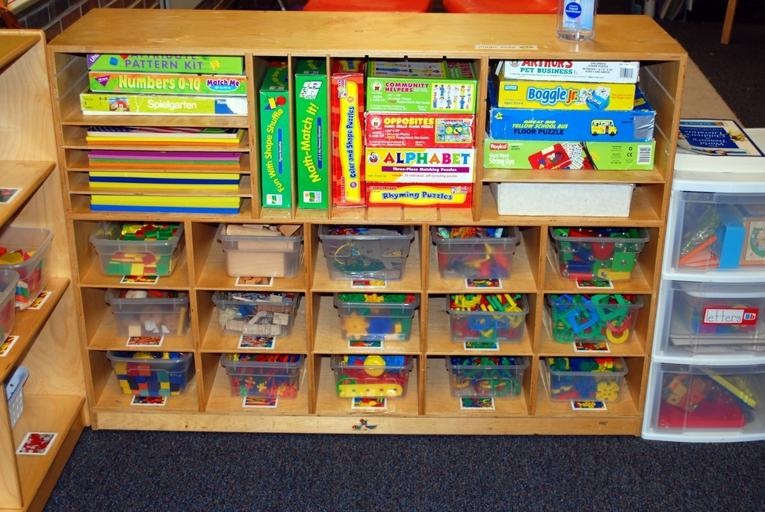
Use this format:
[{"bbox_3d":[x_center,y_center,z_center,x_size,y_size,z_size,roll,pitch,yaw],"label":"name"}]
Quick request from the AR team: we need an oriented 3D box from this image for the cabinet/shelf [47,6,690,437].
[{"bbox_3d":[-0.053,-0.167,2.743,2.308,1.493,0.633,0,32,1],"label":"cabinet/shelf"}]
